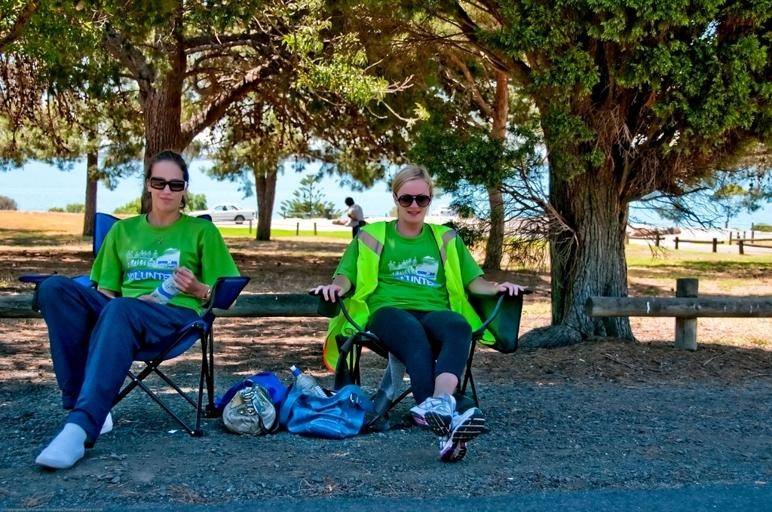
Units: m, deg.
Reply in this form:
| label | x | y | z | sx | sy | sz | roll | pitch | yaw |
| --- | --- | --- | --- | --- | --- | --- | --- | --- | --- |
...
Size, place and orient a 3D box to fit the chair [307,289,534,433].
| label | x | y | z | sx | sy | sz | roll | pitch | yaw |
| --- | --- | --- | --- | --- | --- | --- | --- | --- | --- |
| chair | 0.262 | 0.812 | 7.179 | 1.512 | 1.396 | 1.171 | 2 | -10 | -5 |

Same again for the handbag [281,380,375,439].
| label | x | y | z | sx | sy | sz | roll | pitch | yaw |
| --- | --- | --- | --- | --- | --- | --- | --- | --- | --- |
| handbag | -0.475 | 1.185 | 6.616 | 0.466 | 0.162 | 0.432 | 6 | 18 | 3 |

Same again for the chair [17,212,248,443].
| label | x | y | z | sx | sy | sz | roll | pitch | yaw |
| --- | --- | --- | --- | --- | --- | --- | --- | --- | --- |
| chair | -1.953 | 0.329 | 6.627 | 1.574 | 2.132 | 1.517 | 3 | 0 | -43 |

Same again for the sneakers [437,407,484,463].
| label | x | y | z | sx | sy | sz | roll | pitch | yaw |
| --- | --- | --- | --- | --- | --- | --- | --- | --- | --- |
| sneakers | 0.513 | 1.237 | 6.132 | 0.192 | 0.481 | 0.237 | 22 | 31 | -19 |
